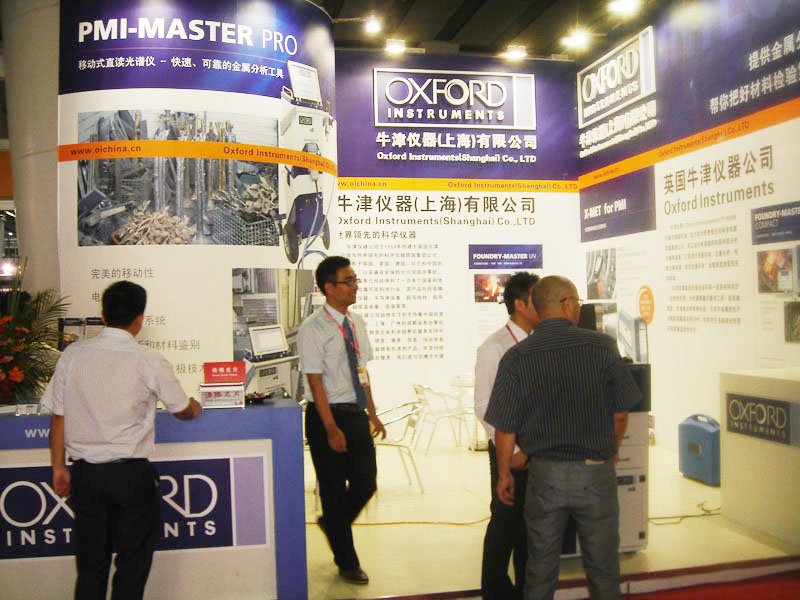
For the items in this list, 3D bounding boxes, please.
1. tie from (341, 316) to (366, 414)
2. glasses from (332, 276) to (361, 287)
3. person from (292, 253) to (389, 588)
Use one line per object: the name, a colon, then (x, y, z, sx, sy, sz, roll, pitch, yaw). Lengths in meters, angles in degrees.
tie: (-0.309, 0.413, 4.488, 0.133, 0.607, 0.031, -10, -11, 4)
glasses: (-0.363, -0.125, 4.618, 0.119, 0.041, 0.123, 0, -4, -40)
person: (-0.385, 0.786, 4.591, 0.546, 2.140, 0.395, -2, 4, -16)
